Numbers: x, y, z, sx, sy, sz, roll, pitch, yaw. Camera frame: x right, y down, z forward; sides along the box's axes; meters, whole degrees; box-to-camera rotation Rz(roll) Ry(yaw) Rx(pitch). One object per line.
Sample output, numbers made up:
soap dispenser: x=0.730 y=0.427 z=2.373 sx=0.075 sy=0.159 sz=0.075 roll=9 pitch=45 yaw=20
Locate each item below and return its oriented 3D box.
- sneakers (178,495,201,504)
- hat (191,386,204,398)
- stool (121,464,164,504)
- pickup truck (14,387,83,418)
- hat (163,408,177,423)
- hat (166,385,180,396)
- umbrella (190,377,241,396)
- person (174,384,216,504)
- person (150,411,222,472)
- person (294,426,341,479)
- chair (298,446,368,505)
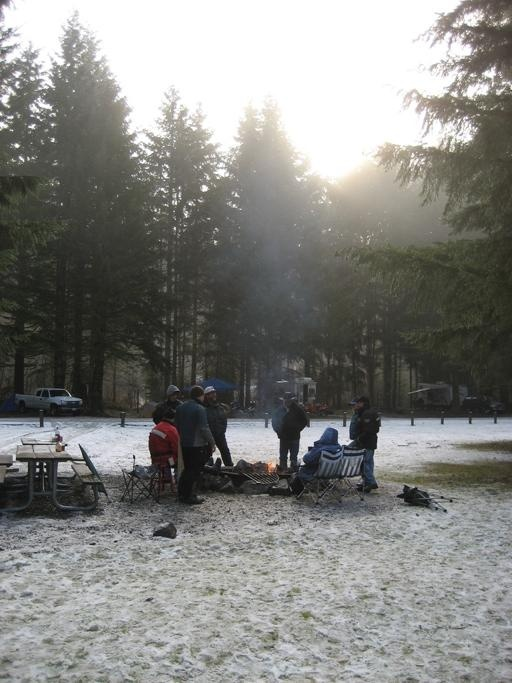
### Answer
sneakers: x=-0.971 y=2.294 z=10.409 sx=0.346 sy=0.158 sz=0.120 roll=-4 pitch=2 yaw=-4
hat: x=-0.935 y=0.781 z=11.245 sx=0.149 sy=0.192 sz=0.191 roll=3 pitch=1 yaw=11
stool: x=-1.740 y=2.191 z=10.886 sx=0.534 sy=0.786 sz=0.576 roll=4 pitch=-35 yaw=-13
pickup truck: x=-10.462 y=2.950 z=36.264 sx=4.265 sy=1.585 sz=1.834 roll=-5 pitch=-8 yaw=40
hat: x=-1.332 y=1.121 z=11.008 sx=0.177 sy=0.228 sz=0.228 roll=4 pitch=2 yaw=-2
hat: x=-1.373 y=0.809 z=12.039 sx=0.187 sy=0.218 sz=0.267 roll=3 pitch=-21 yaw=-32
umbrella: x=-1.877 y=2.176 z=35.754 sx=1.743 sy=0.679 sz=1.702 roll=0 pitch=-5 yaw=0
person: x=-0.945 y=1.528 z=10.853 sx=0.565 sy=1.143 sz=1.188 roll=1 pitch=-2 yaw=-3
person: x=-1.340 y=1.449 z=10.845 sx=0.500 sy=0.846 sz=0.540 roll=5 pitch=-4 yaw=30
person: x=0.983 y=1.736 z=11.130 sx=0.655 sy=0.770 sz=0.720 roll=0 pitch=-2 yaw=37
chair: x=1.196 y=2.075 z=11.327 sx=1.115 sy=0.942 sz=0.761 roll=5 pitch=-7 yaw=-33
